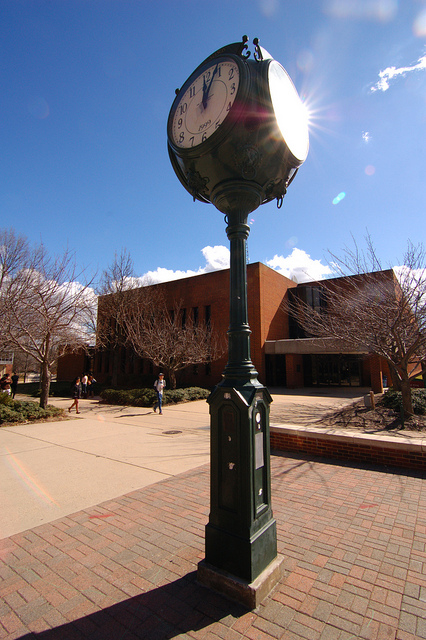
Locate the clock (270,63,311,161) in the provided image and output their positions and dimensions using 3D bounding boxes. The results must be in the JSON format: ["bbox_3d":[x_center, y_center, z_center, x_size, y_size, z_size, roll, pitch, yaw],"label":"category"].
[{"bbox_3d":[0.714,-1.854,3.508,0.180,0.898,0.897,-2,-5,25],"label":"clock"}]

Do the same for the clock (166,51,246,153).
[{"bbox_3d":[-0.064,-1.798,3.286,0.788,0.955,0.131,-12,-25,37],"label":"clock"}]

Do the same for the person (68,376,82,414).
[{"bbox_3d":[-5.025,2.728,14.134,0.413,1.212,2.347,2,-6,-20],"label":"person"}]
